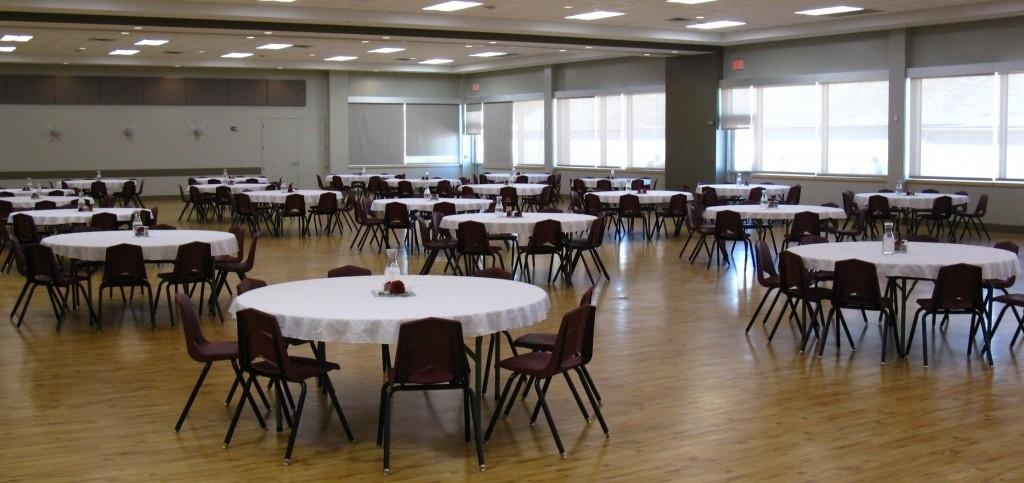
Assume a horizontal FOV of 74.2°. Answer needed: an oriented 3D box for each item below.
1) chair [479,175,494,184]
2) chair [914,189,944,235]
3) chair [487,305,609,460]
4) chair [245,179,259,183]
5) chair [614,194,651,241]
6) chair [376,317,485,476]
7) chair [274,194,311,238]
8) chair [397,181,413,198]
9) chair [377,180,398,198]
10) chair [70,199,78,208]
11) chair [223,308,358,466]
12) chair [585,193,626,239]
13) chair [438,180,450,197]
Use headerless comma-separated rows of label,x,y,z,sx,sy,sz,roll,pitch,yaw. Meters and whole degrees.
chair,-0.801,-2.034,21.733,0.412,0.407,0.352,-1,9,-4
chair,10.143,-0.705,16.440,0.693,1.126,2.163,7,15,30
chair,0.472,1.552,8.145,1.400,1.673,1.160,0,14,5
chair,-8.219,-1.947,21.464,0.326,0.179,0.323,-1,-1,23
chair,3.097,-0.782,17.248,0.809,1.225,2.738,2,13,11
chair,-0.955,1.682,7.663,1.197,1.740,0.799,-4,15,-11
chair,-5.756,-0.795,17.639,0.765,1.165,2.201,-6,14,-18
chair,-3.188,-1.644,20.449,0.378,0.460,0.673,-5,14,-18
chair,-3.925,-1.689,21.365,0.599,0.702,0.625,-7,12,-38
chair,-9.721,-0.895,15.068,0.190,0.150,1.103,-9,15,-32
chair,-2.604,1.567,8.021,0.966,1.731,1.039,-12,18,-38
chair,2.159,-0.681,16.662,1.270,1.506,1.053,0,4,10
chair,-2.061,-1.711,20.626,0.432,0.351,0.614,-2,13,-4
